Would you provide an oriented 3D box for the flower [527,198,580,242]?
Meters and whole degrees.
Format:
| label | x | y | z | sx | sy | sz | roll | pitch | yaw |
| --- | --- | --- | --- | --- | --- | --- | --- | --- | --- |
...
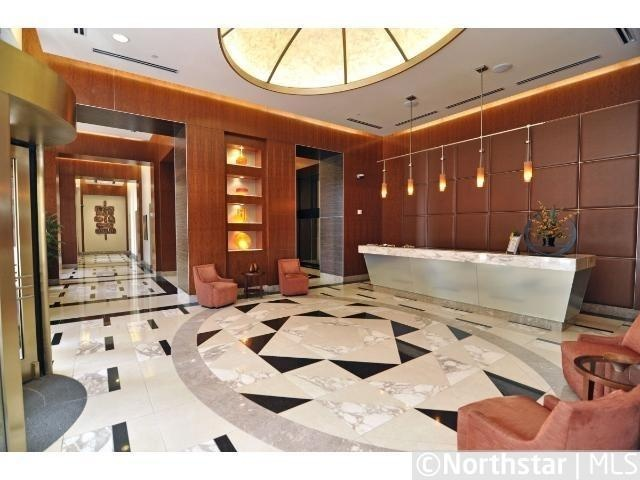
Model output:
| label | x | y | z | sx | sy | sz | roll | pitch | yaw |
| --- | --- | --- | --- | --- | --- | --- | --- | --- | --- |
| flower | 3.702 | -0.272 | 6.473 | 0.902 | 0.850 | 0.835 | -2 | -3 | 43 |

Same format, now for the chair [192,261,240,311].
| label | x | y | z | sx | sy | sz | roll | pitch | yaw |
| --- | --- | --- | --- | --- | --- | --- | --- | --- | --- |
| chair | -1.977 | 0.854 | 7.456 | 0.718 | 0.663 | 0.638 | 7 | 8 | 20 |

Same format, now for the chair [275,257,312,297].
| label | x | y | z | sx | sy | sz | roll | pitch | yaw |
| --- | --- | --- | --- | --- | --- | --- | --- | --- | --- |
| chair | -0.601 | 0.804 | 8.516 | 0.571 | 0.687 | 0.678 | -2 | 8 | -18 |

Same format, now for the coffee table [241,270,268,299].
| label | x | y | z | sx | sy | sz | roll | pitch | yaw |
| --- | --- | --- | --- | --- | --- | --- | --- | --- | --- |
| coffee table | -1.331 | 0.953 | 8.379 | 0.581 | 0.535 | 0.523 | 0 | -5 | -16 |

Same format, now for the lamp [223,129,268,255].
| label | x | y | z | sx | sy | sz | roll | pitch | yaw |
| --- | --- | --- | --- | --- | --- | --- | --- | --- | --- |
| lamp | -1.606 | -0.976 | 8.546 | 1.036 | 2.482 | 0.692 | -7 | 14 | -28 |
